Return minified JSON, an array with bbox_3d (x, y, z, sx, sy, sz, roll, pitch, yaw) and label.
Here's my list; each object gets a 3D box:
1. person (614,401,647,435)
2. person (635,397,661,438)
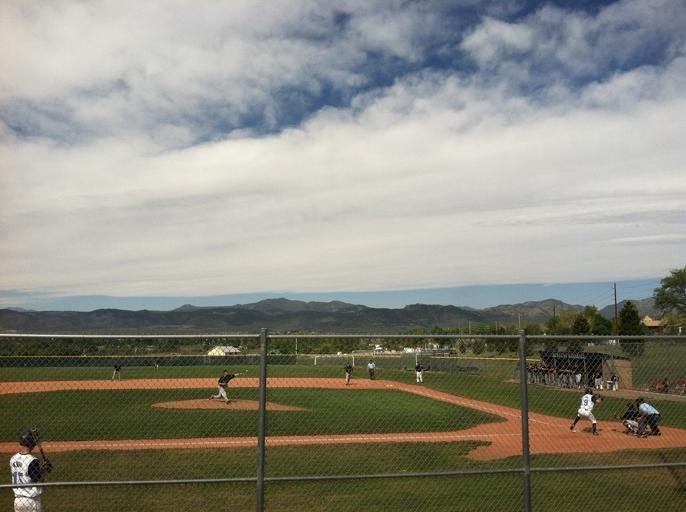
[{"bbox_3d":[11.958,6.733,31.885,0.960,1.037,1.599,-6,-11,29],"label":"person"},{"bbox_3d":[12.443,6.510,31.238,0.843,1.568,1.138,-2,-5,21],"label":"person"}]
